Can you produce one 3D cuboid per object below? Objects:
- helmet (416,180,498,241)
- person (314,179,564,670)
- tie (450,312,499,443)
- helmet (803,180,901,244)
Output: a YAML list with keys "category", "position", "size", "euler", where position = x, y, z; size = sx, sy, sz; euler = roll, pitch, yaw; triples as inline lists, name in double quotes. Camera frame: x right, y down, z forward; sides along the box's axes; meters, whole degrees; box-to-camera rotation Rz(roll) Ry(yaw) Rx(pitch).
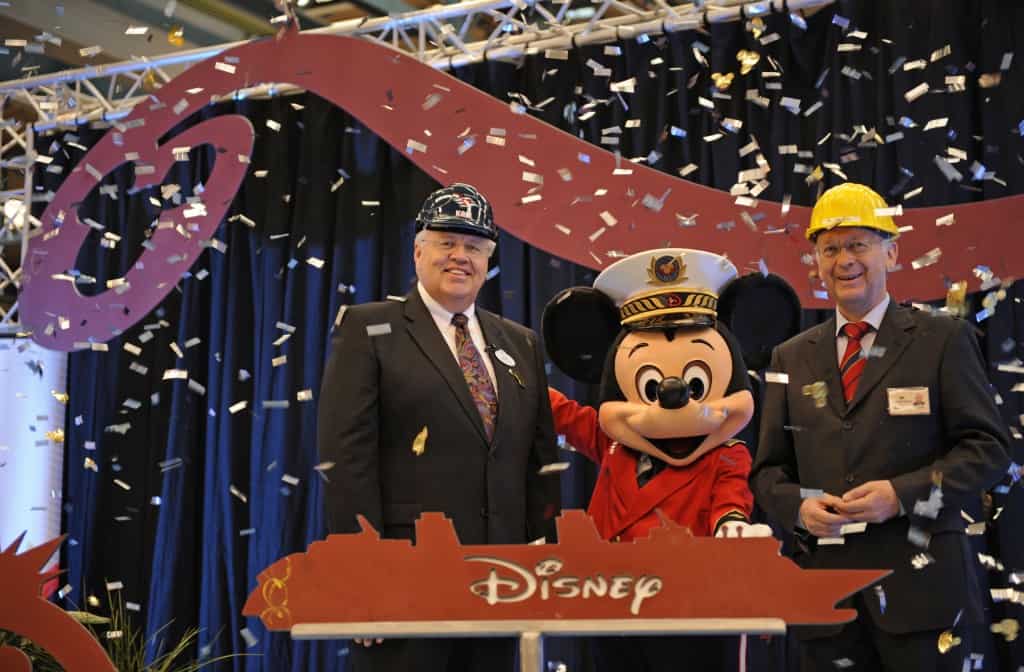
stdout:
- category: "helmet"
  position: [-0.238, -0.596, 7.371]
  size: [0.365, 0.247, 0.492]
  euler: [5, -7, -3]
- category: "person"
  position: [-0.345, 0.117, 7.186]
  size: [1.097, 2.058, 0.437]
  euler: [-2, 0, -9]
- category: "tie"
  position: [-0.188, 0.176, 7.264]
  size: [0.133, 0.629, 0.054]
  euler: [-13, -20, -27]
- category: "helmet"
  position: [1.582, -0.605, 7.357]
  size: [0.400, 0.248, 0.540]
  euler: [0, -1, 30]
